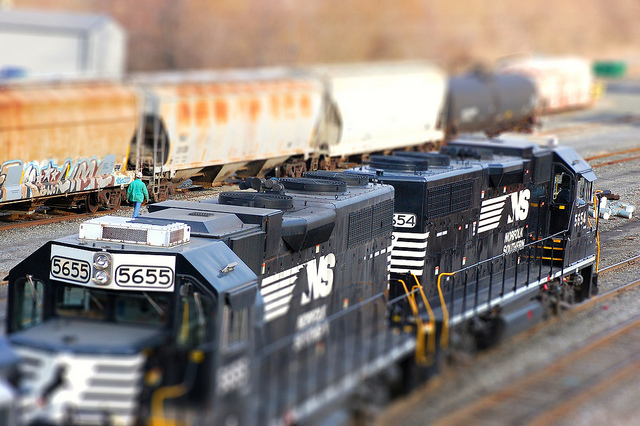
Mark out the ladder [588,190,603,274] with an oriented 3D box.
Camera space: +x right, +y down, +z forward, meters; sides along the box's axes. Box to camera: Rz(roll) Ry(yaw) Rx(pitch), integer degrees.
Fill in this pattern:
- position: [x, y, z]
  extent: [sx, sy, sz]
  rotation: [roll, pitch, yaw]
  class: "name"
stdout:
- position: [8.130, 0.743, 16.721]
  extent: [0.520, 2.952, 0.398]
  rotation: [1, -1, 6]
  class: "ladder"
